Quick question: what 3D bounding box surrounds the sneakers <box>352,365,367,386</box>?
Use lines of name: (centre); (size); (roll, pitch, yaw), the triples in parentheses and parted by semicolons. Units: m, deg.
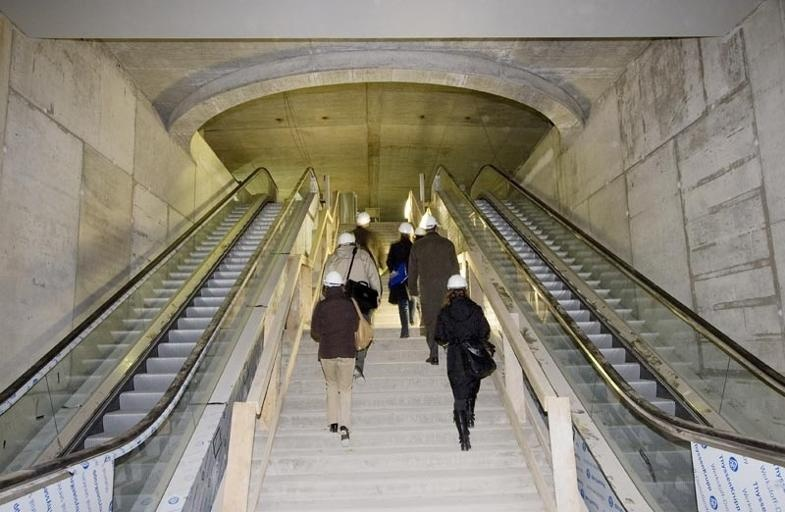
sneakers: (-0.389, 1.538, 5.815); (0.233, 0.255, 0.279); (-2, -30, 3)

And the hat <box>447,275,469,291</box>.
hat: (0.800, 0.312, 5.483); (0.176, 0.115, 0.232); (1, 11, 7)

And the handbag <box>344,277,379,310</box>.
handbag: (-0.379, 0.500, 6.160); (0.164, 0.416, 0.422); (-47, -25, 28)

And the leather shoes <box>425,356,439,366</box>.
leather shoes: (0.552, 1.396, 6.030); (0.203, 0.127, 0.077); (6, 6, 27)

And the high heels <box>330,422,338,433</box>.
high heels: (-0.644, 1.924, 5.061); (0.132, 0.119, 0.093); (-1, -9, 6)

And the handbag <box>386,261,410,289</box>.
handbag: (0.117, 0.292, 7.004); (0.108, 0.337, 0.352); (35, -39, -28)

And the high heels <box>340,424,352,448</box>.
high heels: (-0.509, 1.984, 5.003); (0.116, 0.215, 0.163); (2, -17, -5)

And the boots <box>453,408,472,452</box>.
boots: (0.788, 1.884, 4.931); (0.149, 0.425, 0.279); (-6, -18, 20)

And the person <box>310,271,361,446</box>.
person: (-0.657, 1.093, 5.236); (0.542, 1.926, 0.327); (2, -18, -3)

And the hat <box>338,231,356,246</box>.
hat: (-0.673, -0.270, 6.770); (0.193, 0.209, 0.216); (-1, 3, -4)
